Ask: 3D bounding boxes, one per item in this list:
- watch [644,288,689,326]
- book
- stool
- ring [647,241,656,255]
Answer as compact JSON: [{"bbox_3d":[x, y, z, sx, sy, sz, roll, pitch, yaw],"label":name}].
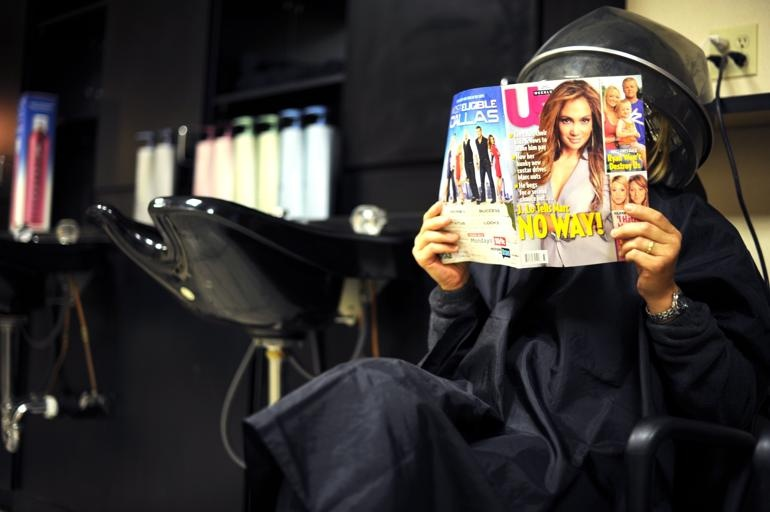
[{"bbox_3d":[0.661,0.123,1.663,0.081,0.048,0.071,-28,14,7],"label":"watch"},{"bbox_3d":[0.381,-0.188,1.637,0.481,0.416,0.056,0,5,6],"label":"book"},{"bbox_3d":[-0.454,0.088,2.154,0.653,0.842,0.541,7,-3,-33],"label":"stool"},{"bbox_3d":[0.616,-0.021,1.625,0.023,0.024,0.024,1,6,0],"label":"ring"}]
